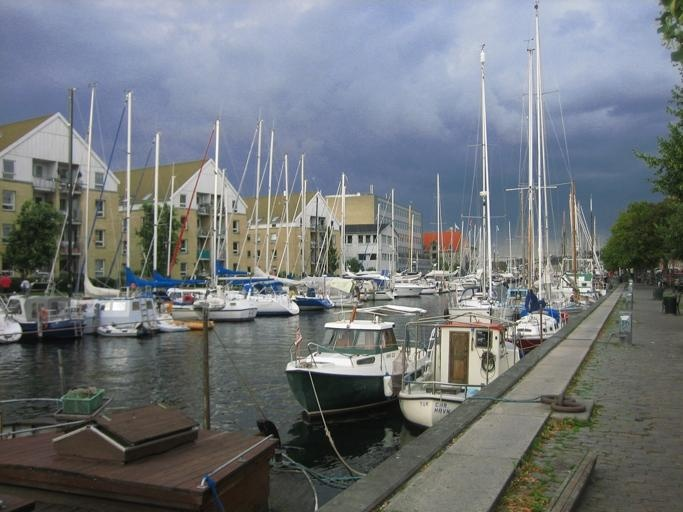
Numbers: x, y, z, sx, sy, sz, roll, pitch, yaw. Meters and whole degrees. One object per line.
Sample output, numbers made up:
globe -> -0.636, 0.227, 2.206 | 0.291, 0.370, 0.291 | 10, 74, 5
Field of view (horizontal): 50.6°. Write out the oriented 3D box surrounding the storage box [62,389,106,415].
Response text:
storage box -> -7.460, 4.231, 21.199 | 0.706, 0.400, 1.145 | 1, -1, 0

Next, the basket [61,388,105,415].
basket -> -7.490, 4.221, 21.209 | 0.719, 0.409, 1.170 | 0, -2, 2

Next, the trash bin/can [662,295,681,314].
trash bin/can -> 18.402, 2.737, 39.772 | 1.099, 1.328, 0.988 | 1, 0, 18

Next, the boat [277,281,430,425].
boat -> 0.694, 3.948, 26.653 | 2.668, 3.381, 6.360 | 2, 2, 23
